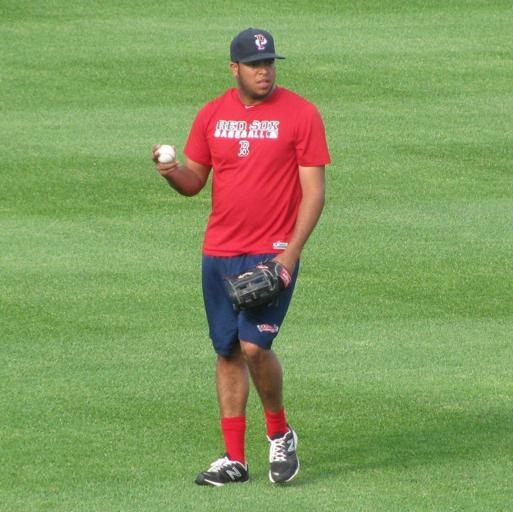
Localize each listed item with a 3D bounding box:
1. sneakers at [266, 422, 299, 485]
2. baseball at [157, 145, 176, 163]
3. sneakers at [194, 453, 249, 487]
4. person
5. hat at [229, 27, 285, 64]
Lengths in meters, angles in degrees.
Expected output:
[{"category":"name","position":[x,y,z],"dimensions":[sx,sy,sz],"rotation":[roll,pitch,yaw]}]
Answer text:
[{"category":"sneakers","position":[0.134,0.970,5.080],"dimensions":[0.105,0.122,0.305],"rotation":[-10,48,23]},{"category":"baseball","position":[-0.433,-0.497,4.986],"dimensions":[0.079,0.097,0.126],"rotation":[-5,31,-3]},{"category":"sneakers","position":[-0.162,1.043,5.132],"dimensions":[0.290,0.143,0.108],"rotation":[-1,-6,-12]},{"category":"person","position":[-0.010,0.039,5.064],"dimensions":[0.772,1.980,1.065],"rotation":[-6,30,-4]},{"category":"hat","position":[-0.024,-0.997,5.015],"dimensions":[0.152,0.131,0.240],"rotation":[-3,6,-16]}]
